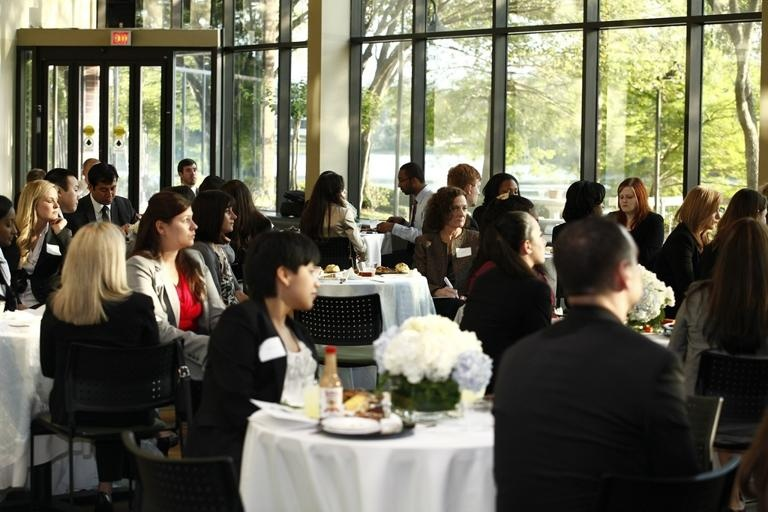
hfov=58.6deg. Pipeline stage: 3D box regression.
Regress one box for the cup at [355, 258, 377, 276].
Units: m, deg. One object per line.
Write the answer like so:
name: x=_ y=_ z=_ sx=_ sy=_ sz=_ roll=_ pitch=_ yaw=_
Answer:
cup: x=-0.176 y=0.107 z=6.622 sx=0.167 sy=0.136 sz=0.140 roll=-3 pitch=6 yaw=-11
